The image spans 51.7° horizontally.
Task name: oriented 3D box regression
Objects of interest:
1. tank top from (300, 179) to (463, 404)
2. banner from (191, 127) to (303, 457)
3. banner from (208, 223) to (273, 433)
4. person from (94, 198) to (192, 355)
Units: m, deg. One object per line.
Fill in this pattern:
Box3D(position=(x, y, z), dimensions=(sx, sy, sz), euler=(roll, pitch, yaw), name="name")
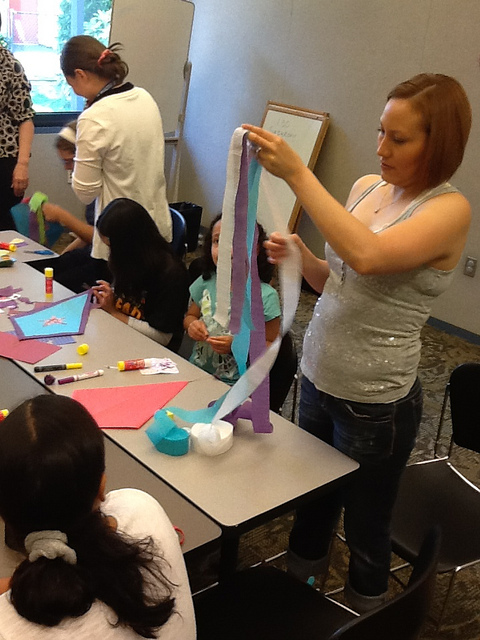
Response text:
Box3D(position=(0.286, 0.021, 1.154), dimensions=(0.296, 0.388, 0.272), euler=(19, 19, 21), name="tank top")
Box3D(position=(0.026, -0.075, 1.290), dimensions=(0.250, 0.755, 0.432), euler=(14, 17, 5), name="banner")
Box3D(position=(-0.007, 0.026, 1.322), dimensions=(0.187, 0.543, 0.145), euler=(-3, 15, -17), name="banner")
Box3D(position=(-0.422, -0.172, 2.099), dimensions=(0.278, 0.733, 0.348), euler=(-20, 53, -24), name="person")
